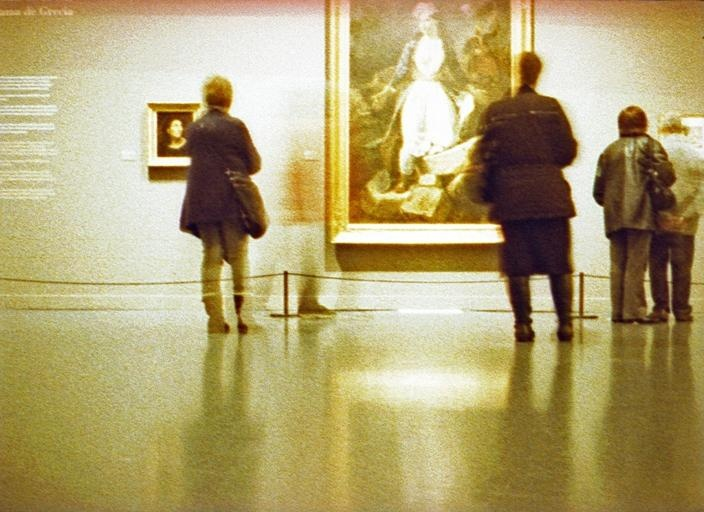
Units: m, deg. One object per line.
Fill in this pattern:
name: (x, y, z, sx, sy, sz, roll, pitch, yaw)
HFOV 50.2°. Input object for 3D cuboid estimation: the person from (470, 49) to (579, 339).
person: (1.019, -0.358, 4.395, 0.586, 1.694, 0.291, -1, 5, 7)

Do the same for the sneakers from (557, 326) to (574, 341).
sneakers: (1.238, 0.446, 4.367, 0.103, 0.108, 0.094, 0, -1, 2)

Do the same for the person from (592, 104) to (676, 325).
person: (2.026, -0.298, 5.404, 0.549, 1.556, 0.268, 0, 5, 14)

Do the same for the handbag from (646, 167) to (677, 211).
handbag: (2.196, -0.478, 5.360, 0.118, 0.267, 0.237, -20, 3, 23)

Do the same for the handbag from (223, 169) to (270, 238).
handbag: (-0.657, -0.355, 4.955, 0.116, 0.393, 0.334, -5, 11, 43)

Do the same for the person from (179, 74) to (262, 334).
person: (-0.868, -0.352, 4.972, 0.538, 1.698, 0.321, -2, 5, -11)
